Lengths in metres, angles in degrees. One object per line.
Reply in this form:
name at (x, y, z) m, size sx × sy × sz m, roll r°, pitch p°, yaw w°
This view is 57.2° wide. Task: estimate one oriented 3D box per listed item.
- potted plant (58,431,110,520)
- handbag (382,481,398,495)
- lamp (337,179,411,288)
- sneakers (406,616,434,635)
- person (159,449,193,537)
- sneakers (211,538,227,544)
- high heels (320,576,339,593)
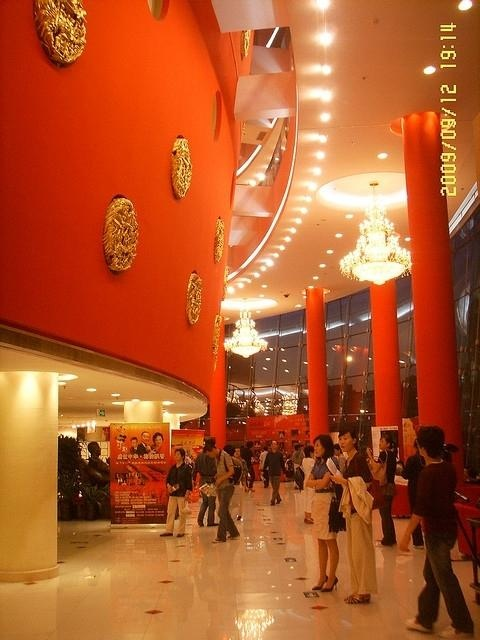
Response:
potted plant at (-3.766, 3.768, 10.606) m, size 1.259 × 1.879 × 0.835 m, roll 0°, pitch -11°, yaw -12°
handbag at (2.167, 2.453, 6.451) m, size 0.142 × 0.147 × 0.168 m, roll -2°, pitch -7°, yaw 1°
lamp at (3.417, -2.210, 10.978) m, size 1.336 × 2.702 × 1.618 m, roll -5°, pitch 18°, yaw 12°
sneakers at (1.097, 1.880, 2.711) m, size 0.161 × 0.071 × 0.145 m, roll -9°, pitch -14°, yaw 22°
person at (-1.088, 2.951, 7.630) m, size 0.414 × 1.535 × 0.412 m, roll 2°, pitch 8°, yaw 1°
sneakers at (-0.339, 3.435, 6.860) m, size 0.147 × 0.064 × 0.094 m, roll 10°, pitch -23°, yaw -7°
high heels at (0.796, 2.371, 4.014) m, size 0.157 × 0.162 × 0.283 m, roll -5°, pitch -13°, yaw 9°
